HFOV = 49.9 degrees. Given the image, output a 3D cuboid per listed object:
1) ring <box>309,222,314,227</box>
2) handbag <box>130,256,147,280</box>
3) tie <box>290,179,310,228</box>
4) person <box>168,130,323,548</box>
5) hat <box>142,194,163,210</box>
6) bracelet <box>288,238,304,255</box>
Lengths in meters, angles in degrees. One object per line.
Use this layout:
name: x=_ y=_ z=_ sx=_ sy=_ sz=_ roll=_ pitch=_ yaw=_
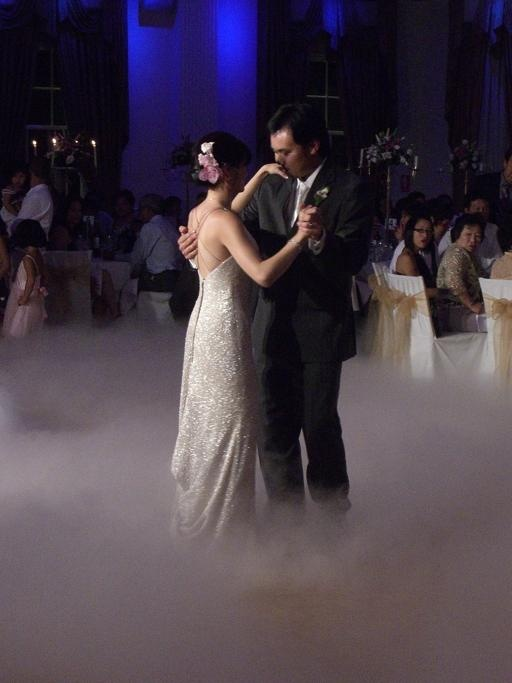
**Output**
ring: x=0.134 y=-0.282 z=1.324 sx=0.010 sy=0.004 sz=0.014 roll=-3 pitch=-10 yaw=-1
handbag: x=-1.108 y=-0.686 z=5.149 sx=0.163 sy=0.074 sz=0.222 roll=2 pitch=32 yaw=-2
tie: x=0.134 y=-0.429 z=1.653 sx=0.041 sy=0.172 sz=0.043 roll=13 pitch=7 yaw=16
person: x=-0.056 y=0.009 z=1.496 sx=0.211 sy=1.142 sz=0.463 roll=-3 pitch=5 yaw=-32
hat: x=-1.017 y=-1.367 z=5.466 sx=0.175 sy=0.183 sz=0.138 roll=24 pitch=21 yaw=28
bracelet: x=0.103 y=-0.234 z=1.360 sx=0.036 sy=0.038 sz=0.034 roll=4 pitch=1 yaw=12
